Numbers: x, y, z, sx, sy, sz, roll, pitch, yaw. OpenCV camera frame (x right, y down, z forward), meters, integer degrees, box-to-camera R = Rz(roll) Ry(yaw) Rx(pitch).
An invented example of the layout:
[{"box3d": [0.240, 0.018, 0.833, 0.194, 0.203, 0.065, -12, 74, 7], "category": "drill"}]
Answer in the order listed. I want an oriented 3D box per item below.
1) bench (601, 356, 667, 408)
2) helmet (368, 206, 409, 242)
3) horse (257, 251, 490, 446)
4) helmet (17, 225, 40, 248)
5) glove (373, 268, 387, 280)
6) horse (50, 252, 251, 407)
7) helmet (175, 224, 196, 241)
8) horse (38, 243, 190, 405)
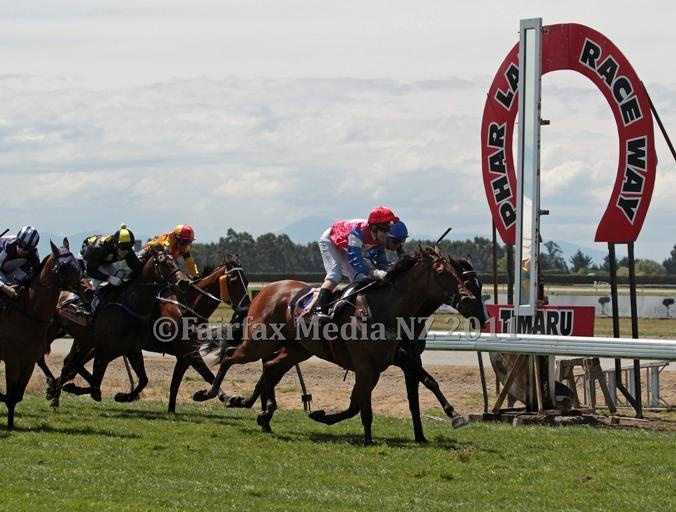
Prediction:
[{"box3d": [5.198, 2.226, 21.608, 1.034, 1.161, 0.833, 0, -7, -7], "category": "bench"}, {"box3d": [0.669, -0.443, 16.601, 0.523, 0.402, 0.350, 1, 1, 1], "category": "helmet"}, {"box3d": [0.584, 1.161, 16.774, 2.917, 2.614, 1.024, 2, 1, 13], "category": "horse"}, {"box3d": [-4.076, -0.232, 16.170, 0.249, 0.348, 0.308, 5, -13, -26], "category": "helmet"}, {"box3d": [0.574, 0.239, 16.684, 0.095, 0.064, 0.141, -2, -20, 19], "category": "glove"}, {"box3d": [-3.129, 1.273, 18.846, 3.675, 2.792, 1.082, -1, 10, 5], "category": "horse"}, {"box3d": [-2.419, -0.363, 19.358, 0.282, 0.227, 0.284, 1, 1, -15], "category": "helmet"}, {"box3d": [-3.531, 1.072, 18.761, 3.091, 2.519, 0.858, -1, 1, 35], "category": "horse"}]
